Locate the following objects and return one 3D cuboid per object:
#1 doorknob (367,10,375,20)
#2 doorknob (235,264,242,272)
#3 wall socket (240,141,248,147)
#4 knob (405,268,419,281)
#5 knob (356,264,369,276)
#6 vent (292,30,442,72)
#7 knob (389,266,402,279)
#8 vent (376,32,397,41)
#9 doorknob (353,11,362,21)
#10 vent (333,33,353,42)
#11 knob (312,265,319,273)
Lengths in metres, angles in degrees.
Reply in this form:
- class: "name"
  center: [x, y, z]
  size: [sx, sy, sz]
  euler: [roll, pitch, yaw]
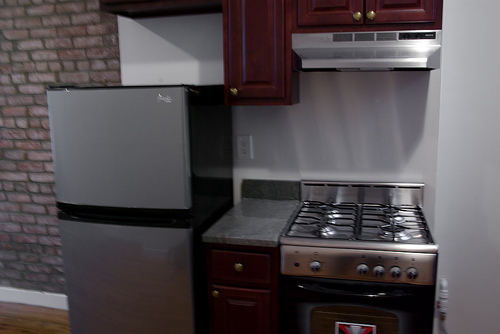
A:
- class: "doorknob"
  center: [0.705, -0.885, 2.464]
  size: [0.043, 0.046, 0.017]
  euler: [2, 6, 11]
- class: "doorknob"
  center: [-0.066, 0.590, 2.463]
  size: [0.038, 0.025, 0.038]
  euler: [8, 18, 21]
- class: "wall socket"
  center: [-0.044, -0.166, 3.045]
  size: [0.038, 0.036, 0.009]
  euler: [3, 6, 9]
- class: "knob"
  center: [0.878, 0.588, 2.297]
  size: [0.062, 0.060, 0.024]
  euler: [-22, 13, 20]
- class: "knob"
  center: [0.625, 0.574, 2.345]
  size: [0.067, 0.063, 0.018]
  euler: [3, 6, 14]
- class: "vent"
  center: [0.672, -0.693, 2.496]
  size: [0.836, 0.223, 0.182]
  euler: [3, 6, 20]
- class: "knob"
  center: [0.796, 0.574, 2.311]
  size: [0.065, 0.043, 0.063]
  euler: [-3, 7, -12]
- class: "vent"
  center: [0.803, -0.765, 2.473]
  size: [0.105, 0.054, 0.026]
  euler: [0, 0, 3]
- class: "doorknob"
  center: [0.629, -0.889, 2.484]
  size: [0.046, 0.056, 0.019]
  euler: [2, 6, 9]
- class: "vent"
  center: [0.554, -0.771, 2.514]
  size: [0.078, 0.036, 0.054]
  euler: [1, 6, 9]
- class: "knob"
  center: [0.368, 0.574, 2.378]
  size: [0.038, 0.036, 0.038]
  euler: [4, 13, 19]
